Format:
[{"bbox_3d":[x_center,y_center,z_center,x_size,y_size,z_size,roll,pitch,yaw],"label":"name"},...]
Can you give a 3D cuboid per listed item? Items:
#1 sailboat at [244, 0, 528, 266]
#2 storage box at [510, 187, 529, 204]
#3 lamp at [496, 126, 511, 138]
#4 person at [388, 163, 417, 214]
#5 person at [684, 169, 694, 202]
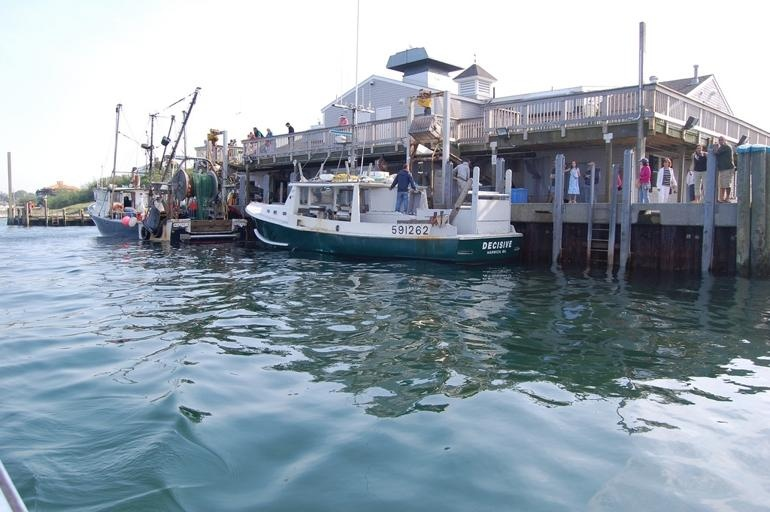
[{"bbox_3d":[-0.229,-2.682,23.283,12.537,6.428,5.252,8,9,41],"label":"sailboat"},{"bbox_3d":[4.727,-2.085,20.213,0.544,0.593,1.004,8,10,43],"label":"storage box"},{"bbox_3d":[4.455,-4.616,21.772,0.427,0.336,0.540,-3,6,-45],"label":"lamp"},{"bbox_3d":[0.645,-2.270,19.557,0.860,1.631,0.521,1,15,1],"label":"person"},{"bbox_3d":[10.230,-2.370,19.346,0.286,0.993,0.997,8,16,27],"label":"person"}]
